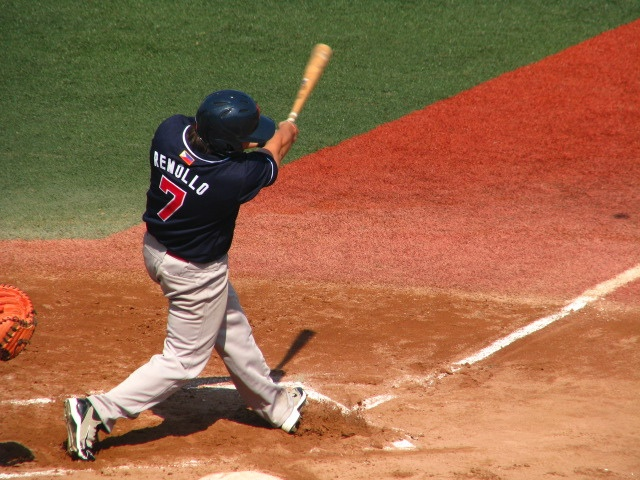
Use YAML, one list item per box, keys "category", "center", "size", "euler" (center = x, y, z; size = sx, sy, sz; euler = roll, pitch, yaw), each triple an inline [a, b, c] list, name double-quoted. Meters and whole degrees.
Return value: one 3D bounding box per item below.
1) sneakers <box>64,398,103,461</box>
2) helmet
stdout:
- category: "sneakers"
  center: [-1.883, 1.485, 6.651]
  size: [0.334, 0.509, 0.211]
  euler: [-2, 3, -3]
- category: "helmet"
  center: [-0.699, -0.914, 6.486]
  size: [0.759, 0.321, 0.395]
  euler: [3, 53, -15]
